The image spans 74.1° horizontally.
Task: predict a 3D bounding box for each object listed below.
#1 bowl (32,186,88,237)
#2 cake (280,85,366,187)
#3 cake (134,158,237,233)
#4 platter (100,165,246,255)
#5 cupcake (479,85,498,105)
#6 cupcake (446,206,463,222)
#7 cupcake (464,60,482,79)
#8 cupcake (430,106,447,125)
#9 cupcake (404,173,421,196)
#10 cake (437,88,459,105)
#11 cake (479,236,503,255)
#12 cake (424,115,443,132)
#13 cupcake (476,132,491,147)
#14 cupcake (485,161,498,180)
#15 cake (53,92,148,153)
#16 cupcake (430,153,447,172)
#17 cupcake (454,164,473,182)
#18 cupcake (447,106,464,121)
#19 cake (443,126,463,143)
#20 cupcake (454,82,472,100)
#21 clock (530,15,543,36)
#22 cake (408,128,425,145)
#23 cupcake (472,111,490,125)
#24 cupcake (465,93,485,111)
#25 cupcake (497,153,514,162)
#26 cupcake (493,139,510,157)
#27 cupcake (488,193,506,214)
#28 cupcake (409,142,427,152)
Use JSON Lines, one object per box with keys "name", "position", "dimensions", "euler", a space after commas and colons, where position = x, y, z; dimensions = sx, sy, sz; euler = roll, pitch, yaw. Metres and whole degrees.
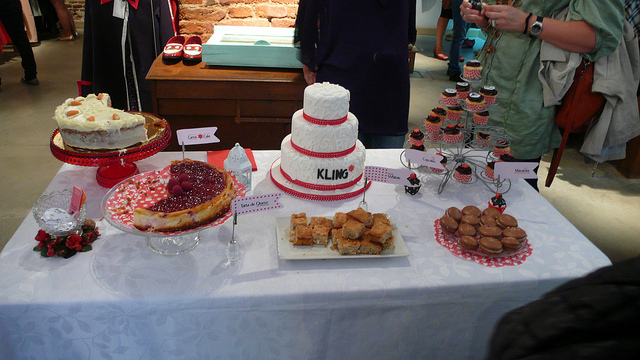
{"name": "bowl", "position": [-1.782, 0.224, 2.907], "dimensions": [0.296, 0.212, 0.323], "euler": [10, 33, -7]}
{"name": "cake", "position": [0.030, -0.414, 3.469], "dimensions": [0.779, 0.673, 0.792], "euler": [7, 26, 7]}
{"name": "cake", "position": [-0.931, 0.092, 3.022], "dimensions": [0.605, 0.164, 0.757], "euler": [5, 31, 5]}
{"name": "platter", "position": [-1.097, 0.177, 2.980], "dimensions": [0.717, 0.231, 0.681], "euler": [-4, 32, -16]}
{"name": "cupcake", "position": [1.475, -0.750, 3.771], "dimensions": [0.159, 0.135, 0.164], "euler": [-3, 28, -3]}
{"name": "cupcake", "position": [1.000, 0.245, 3.136], "dimensions": [0.106, 0.035, 0.111], "euler": [26, 31, 30]}
{"name": "cupcake", "position": [1.304, -0.969, 3.713], "dimensions": [0.163, 0.138, 0.155], "euler": [-3, 26, -5]}
{"name": "cupcake", "position": [1.005, -0.561, 3.668], "dimensions": [0.135, 0.135, 0.138], "euler": [-4, 22, -10]}
{"name": "cupcake", "position": [0.724, 0.015, 3.378], "dimensions": [0.151, 0.157, 0.166], "euler": [-21, 28, -37]}
{"name": "cake", "position": [1.100, -0.712, 3.668], "dimensions": [0.158, 0.103, 0.150], "euler": [-3, 20, -2]}
{"name": "cake", "position": [1.183, 0.455, 2.938], "dimensions": [0.128, 0.061, 0.122], "euler": [-10, 27, -20]}
{"name": "cake", "position": [0.940, -0.482, 3.575], "dimensions": [0.146, 0.123, 0.138], "euler": [2, 20, -2]}
{"name": "cupcake", "position": [1.366, -0.343, 3.549], "dimensions": [0.119, 0.104, 0.119], "euler": [5, 8, 41]}
{"name": "cupcake", "position": [1.380, -0.084, 3.463], "dimensions": [0.138, 0.121, 0.131], "euler": [-2, 18, -4]}
{"name": "cake", "position": [-1.634, -0.423, 3.219], "dimensions": [0.523, 0.206, 0.610], "euler": [-17, 38, -33]}
{"name": "cupcake", "position": [0.976, -0.149, 3.481], "dimensions": [0.151, 0.139, 0.149], "euler": [-2, 42, -1]}
{"name": "cupcake", "position": [1.171, -0.056, 3.525], "dimensions": [0.138, 0.122, 0.135], "euler": [-20, 38, -30]}
{"name": "cupcake", "position": [1.154, -0.578, 3.628], "dimensions": [0.113, 0.091, 0.112], "euler": [20, 33, 29]}
{"name": "cake", "position": [1.094, -0.379, 3.515], "dimensions": [0.144, 0.092, 0.137], "euler": [0, 25, -7]}
{"name": "cupcake", "position": [1.229, -0.775, 3.690], "dimensions": [0.135, 0.113, 0.131], "euler": [-5, 28, -3]}
{"name": "clock", "position": [1.832, -1.298, 3.570], "dimensions": [0.089, 0.129, 0.097], "euler": [-31, 50, -34]}
{"name": "cake", "position": [0.802, -0.353, 3.547], "dimensions": [0.140, 0.121, 0.133], "euler": [-2, 21, 0]}
{"name": "cupcake", "position": [1.363, -0.542, 3.641], "dimensions": [0.122, 0.097, 0.119], "euler": [-1, 24, -9]}
{"name": "cupcake", "position": [1.310, -0.663, 3.603], "dimensions": [0.151, 0.101, 0.145], "euler": [1, 24, -2]}
{"name": "cupcake", "position": [1.502, -0.175, 3.423], "dimensions": [0.084, 0.045, 0.098], "euler": [0, 2, 13]}
{"name": "cupcake", "position": [1.475, -0.262, 3.502], "dimensions": [0.131, 0.114, 0.125], "euler": [-1, 24, 1]}
{"name": "cupcake", "position": [1.328, 0.169, 3.228], "dimensions": [0.138, 0.146, 0.129], "euler": [7, 26, 16]}
{"name": "cupcake", "position": [0.805, -0.266, 3.445], "dimensions": [0.091, 0.078, 0.086], "euler": [-1, 8, 0]}
